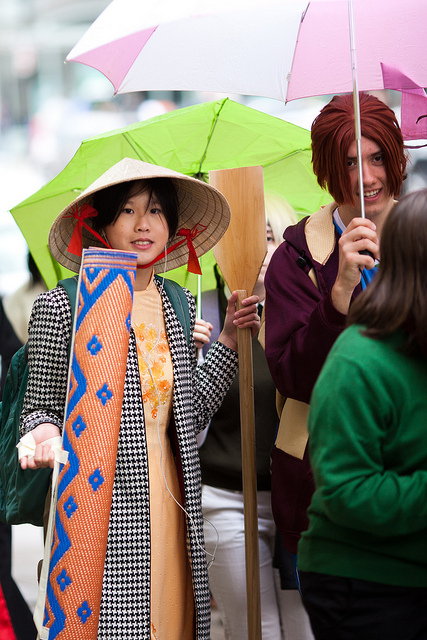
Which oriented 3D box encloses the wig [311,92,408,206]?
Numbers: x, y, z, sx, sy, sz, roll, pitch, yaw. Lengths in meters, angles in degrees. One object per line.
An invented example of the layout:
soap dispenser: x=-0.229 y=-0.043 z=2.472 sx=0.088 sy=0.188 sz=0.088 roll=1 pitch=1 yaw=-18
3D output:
wig: x=0.418 y=-0.514 z=2.025 sx=0.256 sy=0.344 sz=0.154 roll=-4 pitch=19 yaw=-4
